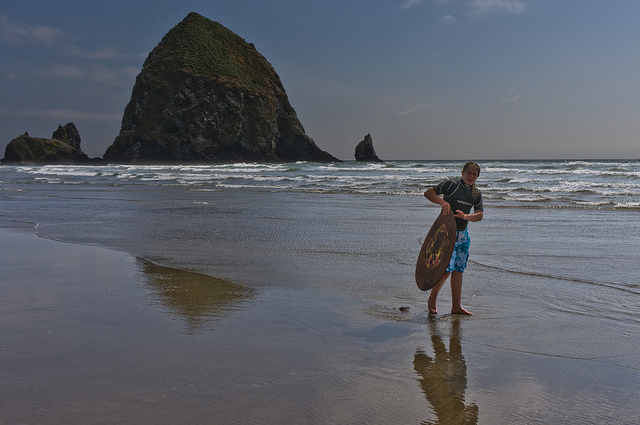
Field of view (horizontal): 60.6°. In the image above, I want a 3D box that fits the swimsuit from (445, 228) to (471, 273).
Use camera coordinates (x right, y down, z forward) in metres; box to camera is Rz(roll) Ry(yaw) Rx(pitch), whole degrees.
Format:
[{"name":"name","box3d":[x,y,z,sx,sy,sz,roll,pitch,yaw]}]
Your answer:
[{"name":"swimsuit","box3d":[1.856,0.523,7.283,0.366,0.537,0.184,12,-3,32]}]
